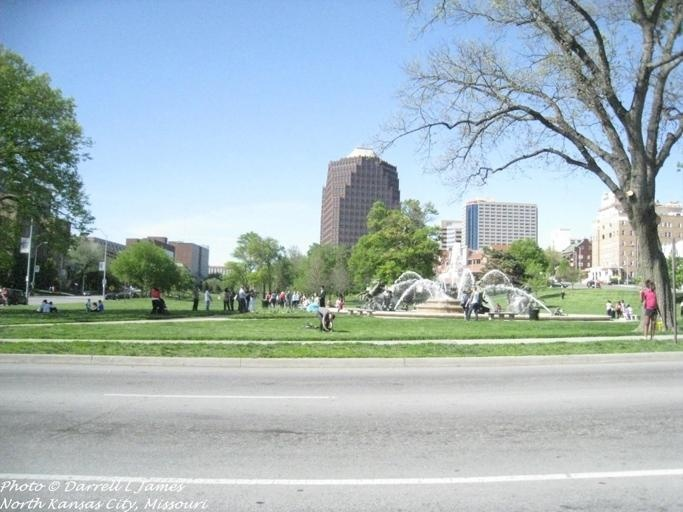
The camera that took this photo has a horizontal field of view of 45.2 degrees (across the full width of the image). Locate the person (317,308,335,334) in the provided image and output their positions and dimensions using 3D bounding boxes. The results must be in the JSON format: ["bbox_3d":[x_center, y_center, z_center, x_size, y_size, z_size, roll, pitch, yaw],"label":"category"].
[{"bbox_3d":[-0.661,2.601,33.571,0.883,1.120,0.748,9,-21,-33],"label":"person"}]

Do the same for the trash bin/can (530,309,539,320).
[{"bbox_3d":[10.589,3.220,45.344,0.515,0.607,0.543,-2,-5,14],"label":"trash bin/can"}]

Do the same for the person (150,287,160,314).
[{"bbox_3d":[-9.788,2.277,42.838,0.445,1.578,1.981,-2,10,-13],"label":"person"}]

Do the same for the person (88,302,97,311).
[{"bbox_3d":[-15.459,3.119,50.706,0.533,0.786,0.279,5,0,5],"label":"person"}]

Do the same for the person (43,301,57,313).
[{"bbox_3d":[-16.696,2.810,46.450,0.771,0.506,1.035,5,-10,-29],"label":"person"}]
